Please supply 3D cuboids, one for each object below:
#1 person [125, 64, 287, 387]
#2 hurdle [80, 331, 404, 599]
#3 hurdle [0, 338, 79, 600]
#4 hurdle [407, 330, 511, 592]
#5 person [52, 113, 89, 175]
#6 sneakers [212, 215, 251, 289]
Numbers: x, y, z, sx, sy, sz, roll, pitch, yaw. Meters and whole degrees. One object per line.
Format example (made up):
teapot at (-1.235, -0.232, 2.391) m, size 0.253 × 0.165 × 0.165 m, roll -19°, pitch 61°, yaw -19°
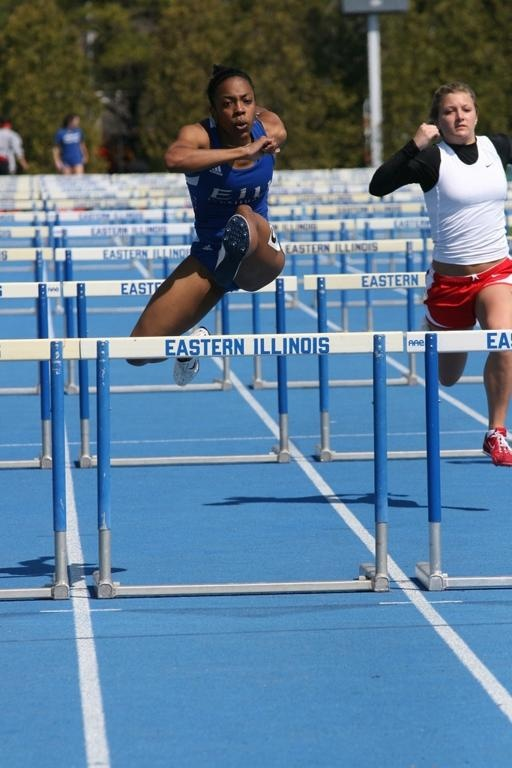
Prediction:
person at (-0.198, -0.632, 5.330) m, size 0.611 × 1.113 × 1.583 m, roll -1°, pitch -6°, yaw -10°
hurdle at (-0.076, 0.373, 6.118) m, size 1.074 × 0.917 × 0.348 m, roll 0°, pitch -5°, yaw -8°
hurdle at (-0.807, 0.258, 4.823) m, size 0.273 × 0.914 × 0.750 m, roll -4°, pitch 10°, yaw -9°
hurdle at (0.703, 0.256, 4.680) m, size 0.301 × 0.891 × 0.246 m, roll -4°, pitch 10°, yaw -8°
person at (-2.751, -3.467, 19.931) m, size 0.491 × 0.848 × 1.212 m, roll -4°, pitch 10°, yaw -8°
sneakers at (-0.093, -0.482, 5.027) m, size 0.098 × 0.273 × 0.110 m, roll 22°, pitch 41°, yaw 9°
